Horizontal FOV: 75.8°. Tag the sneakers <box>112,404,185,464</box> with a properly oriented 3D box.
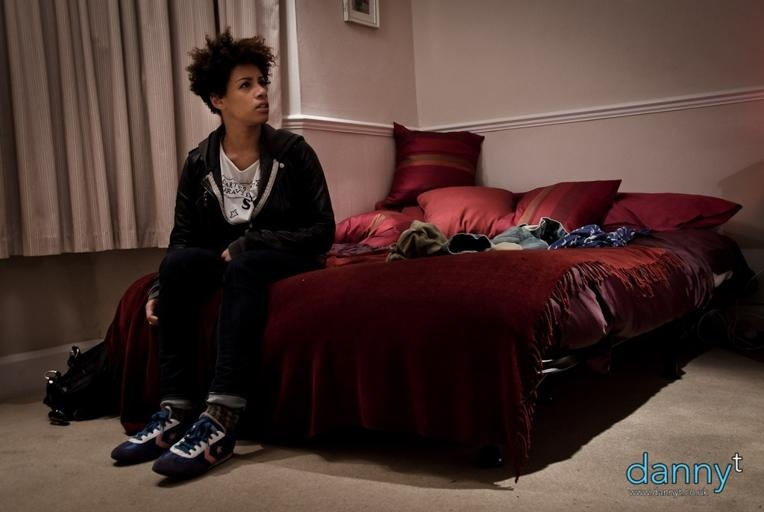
[{"bbox_3d":[-0.853,0.662,1.837,0.107,0.153,0.340,8,0,28],"label":"sneakers"}]

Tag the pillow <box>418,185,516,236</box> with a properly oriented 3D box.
[{"bbox_3d":[0.529,-0.291,3.182,0.416,0.136,0.396,1,25,2],"label":"pillow"}]

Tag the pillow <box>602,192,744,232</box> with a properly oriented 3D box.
[{"bbox_3d":[1.645,-0.266,2.822,0.542,0.138,0.347,1,27,26],"label":"pillow"}]

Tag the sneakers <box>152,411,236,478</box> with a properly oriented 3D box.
[{"bbox_3d":[-0.645,0.669,1.736,0.139,0.159,0.342,6,1,16],"label":"sneakers"}]

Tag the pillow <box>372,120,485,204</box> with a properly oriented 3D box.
[{"bbox_3d":[0.328,-0.672,3.587,0.642,0.622,0.244,1,-21,4],"label":"pillow"}]
